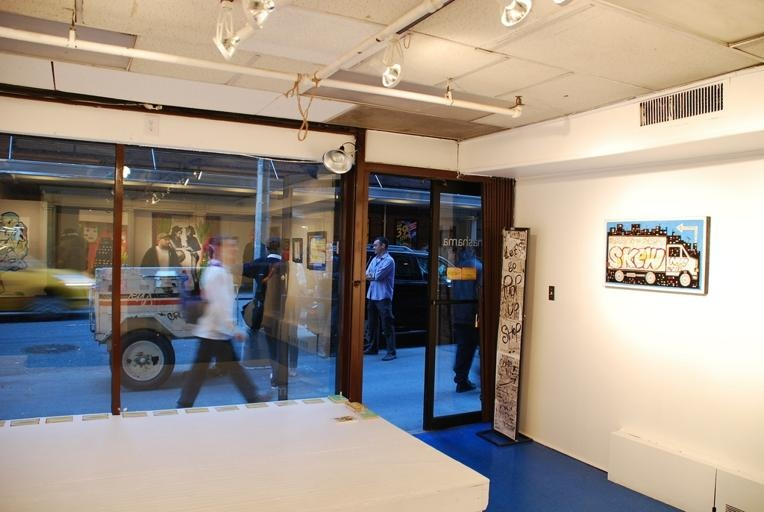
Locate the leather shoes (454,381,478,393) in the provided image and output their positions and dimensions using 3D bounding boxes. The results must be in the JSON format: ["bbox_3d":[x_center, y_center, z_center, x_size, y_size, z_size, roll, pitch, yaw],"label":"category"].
[{"bbox_3d":[1.041,1.619,6.547,0.290,0.188,0.094,-3,5,-26],"label":"leather shoes"}]

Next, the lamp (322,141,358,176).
[{"bbox_3d":[-0.457,-1.059,5.645,0.360,0.364,0.405,3,11,-3],"label":"lamp"}]

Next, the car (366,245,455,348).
[{"bbox_3d":[0.196,0.653,9.141,1.944,1.012,1.030,-1,2,-34],"label":"car"}]

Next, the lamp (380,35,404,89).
[{"bbox_3d":[0.105,-1.416,3.795,0.162,0.395,0.129,2,-8,38],"label":"lamp"}]

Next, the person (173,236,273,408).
[{"bbox_3d":[-1.655,0.670,5.357,0.801,1.693,0.368,0,12,-20],"label":"person"}]

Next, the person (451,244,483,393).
[{"bbox_3d":[1.017,0.781,6.420,0.382,1.763,0.337,2,11,-11],"label":"person"}]

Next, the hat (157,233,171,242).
[{"bbox_3d":[-2.151,-0.192,5.168,0.098,0.047,0.063,-3,3,-5],"label":"hat"}]

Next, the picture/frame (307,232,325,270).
[{"bbox_3d":[-0.706,-0.060,5.779,0.243,0.431,0.031,3,4,12],"label":"picture/frame"}]

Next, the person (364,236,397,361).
[{"bbox_3d":[0.016,0.709,8.695,0.667,2.000,0.451,8,12,21],"label":"person"}]
